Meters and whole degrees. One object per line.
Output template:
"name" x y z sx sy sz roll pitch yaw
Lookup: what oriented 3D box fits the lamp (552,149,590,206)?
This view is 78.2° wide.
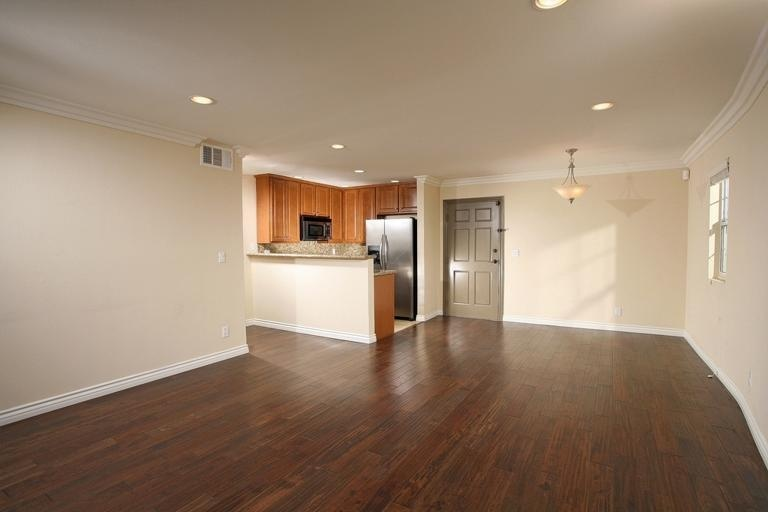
"lamp" 2.706 -1.162 6.824 0.424 0.743 0.432 0 12 21

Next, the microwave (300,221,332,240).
"microwave" -1.217 -0.453 8.578 0.179 0.362 0.793 1 4 24

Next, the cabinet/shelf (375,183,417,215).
"cabinet/shelf" 0.218 -1.056 8.752 0.894 0.566 0.310 -6 12 -18
